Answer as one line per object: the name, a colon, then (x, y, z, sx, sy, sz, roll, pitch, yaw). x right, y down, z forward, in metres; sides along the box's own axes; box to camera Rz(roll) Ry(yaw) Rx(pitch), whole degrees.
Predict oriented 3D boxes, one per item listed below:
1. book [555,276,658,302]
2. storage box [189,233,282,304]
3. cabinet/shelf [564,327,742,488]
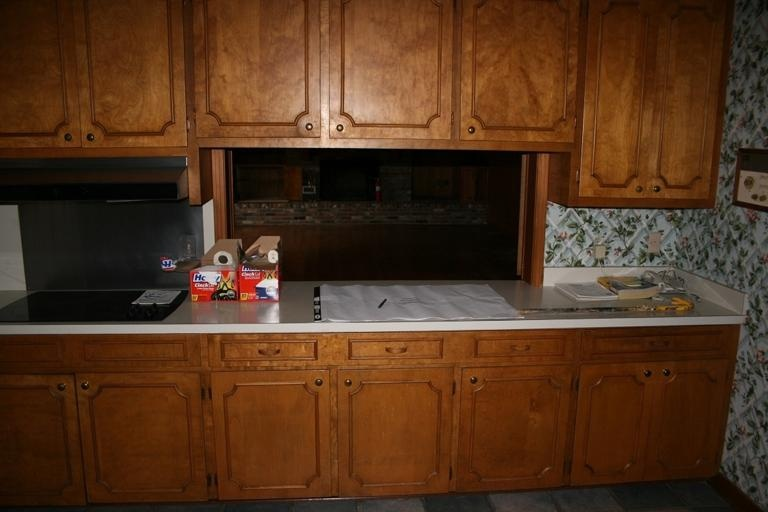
book: (1.380, 0.189, 3.766, 0.564, 0.099, 0.276, -2, 11, -10)
storage box: (-0.852, 0.048, 3.533, 0.409, 0.256, 0.414, 1, 8, 0)
cabinet/shelf: (1.466, 0.812, 3.810, 1.134, 0.983, 0.700, 1, 8, -16)
